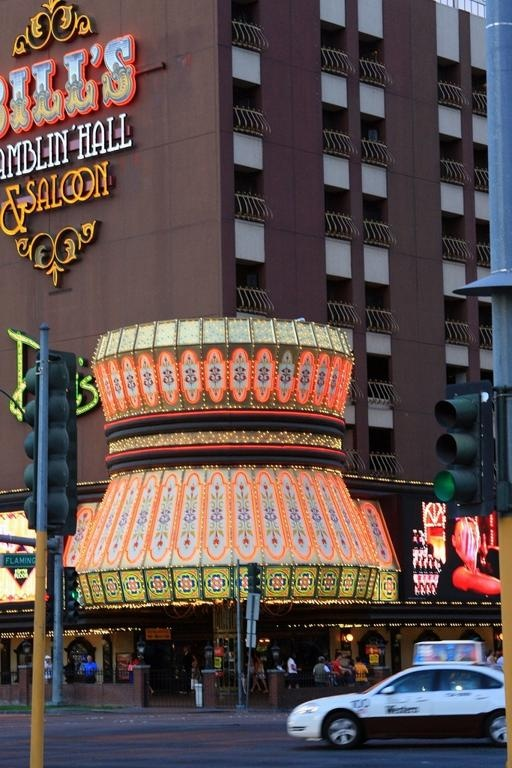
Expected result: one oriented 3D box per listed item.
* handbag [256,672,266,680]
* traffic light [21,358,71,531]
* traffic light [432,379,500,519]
[{"bbox_3d":[0.074,8.053,52.260,0.189,0.252,0.256,2,-20,-9],"label":"handbag"},{"bbox_3d":[-2.521,0.614,22.813,0.537,2.313,1.088,-1,-13,-11],"label":"traffic light"},{"bbox_3d":[2.163,0.641,19.913,0.676,1.442,0.446,-5,-13,6],"label":"traffic light"}]
